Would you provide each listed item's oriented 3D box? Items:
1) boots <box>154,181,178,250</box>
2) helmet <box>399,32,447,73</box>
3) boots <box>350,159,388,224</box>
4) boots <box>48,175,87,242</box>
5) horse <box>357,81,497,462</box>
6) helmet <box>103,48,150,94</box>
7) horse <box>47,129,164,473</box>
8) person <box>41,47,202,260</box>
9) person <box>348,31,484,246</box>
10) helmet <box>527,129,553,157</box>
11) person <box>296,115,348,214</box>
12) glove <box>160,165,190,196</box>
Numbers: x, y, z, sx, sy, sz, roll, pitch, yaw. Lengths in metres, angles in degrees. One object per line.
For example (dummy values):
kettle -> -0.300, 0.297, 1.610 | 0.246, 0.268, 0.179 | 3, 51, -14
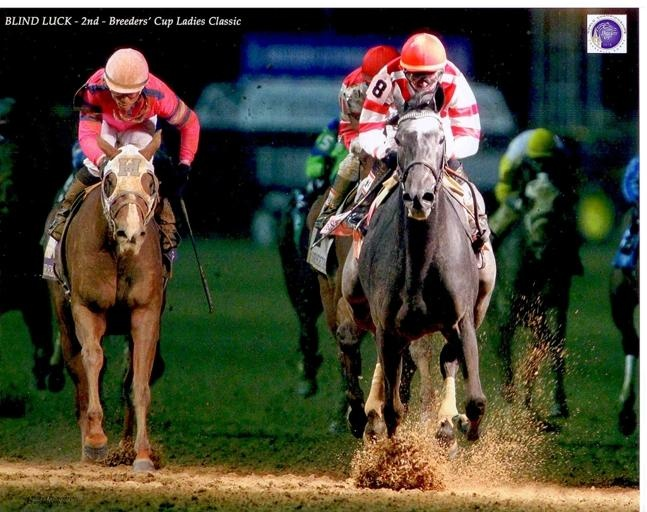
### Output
boots -> -1.324, -0.274, 8.741 | 0.174, 0.131, 0.473 | -16, 48, 5
helmet -> 0.689, -1.449, 7.400 | 0.306, 0.209, 0.419 | 3, 26, 13
boots -> 0.324, -0.529, 7.695 | 0.120, 0.463, 0.125 | 44, 4, -2
boots -> -2.100, -0.377, 8.671 | 0.118, 0.539, 0.277 | 27, -7, -5
horse -> 0.682, 0.155, 7.302 | 0.946, 2.623, 1.244 | 1, 7, 3
helmet -> -1.555, -1.539, 8.382 | 0.375, 0.271, 0.535 | 4, 33, -8
horse -> -1.619, 0.369, 8.206 | 0.753, 2.667, 1.125 | -2, 8, -24
person -> -1.631, -0.833, 9.104 | 0.964, 1.501, 2.481 | 8, -1, -7
person -> 0.777, -1.065, 7.751 | 0.636, 1.118, 1.708 | 1, -3, 1
helmet -> 1.970, -1.029, 9.660 | 0.189, 0.281, 0.207 | 2, -3, -2
person -> -0.025, -0.860, 9.718 | 0.254, 1.044, 0.518 | 27, 21, 17
glove -> -1.186, -0.673, 8.719 | 0.096, 0.192, 0.334 | -15, 32, -26
